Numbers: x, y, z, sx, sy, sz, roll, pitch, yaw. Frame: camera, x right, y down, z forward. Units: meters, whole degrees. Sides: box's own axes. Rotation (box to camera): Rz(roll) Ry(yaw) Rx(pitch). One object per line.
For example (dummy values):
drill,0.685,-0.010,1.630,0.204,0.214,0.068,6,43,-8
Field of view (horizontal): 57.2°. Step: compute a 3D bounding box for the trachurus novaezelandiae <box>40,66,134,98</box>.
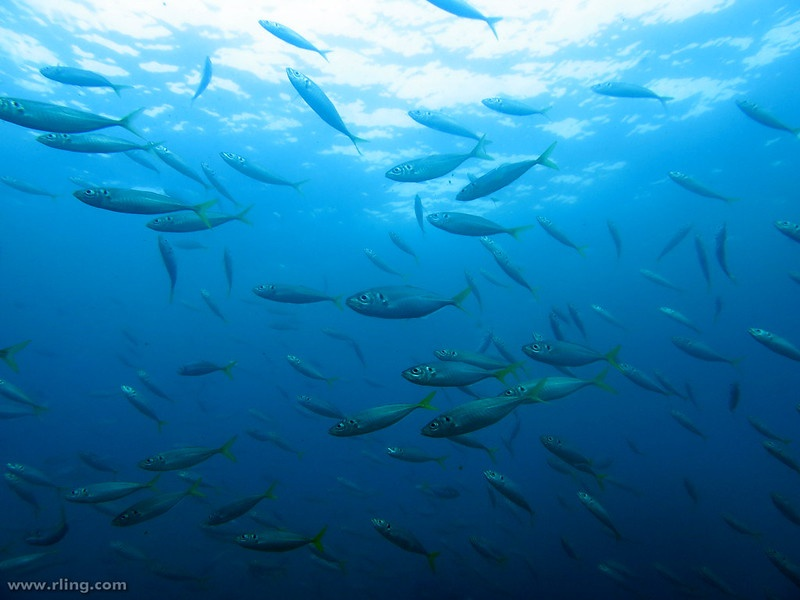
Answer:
trachurus novaezelandiae,-12.910,-8.935,29.605,2.805,0.713,0.820,5,17,6
